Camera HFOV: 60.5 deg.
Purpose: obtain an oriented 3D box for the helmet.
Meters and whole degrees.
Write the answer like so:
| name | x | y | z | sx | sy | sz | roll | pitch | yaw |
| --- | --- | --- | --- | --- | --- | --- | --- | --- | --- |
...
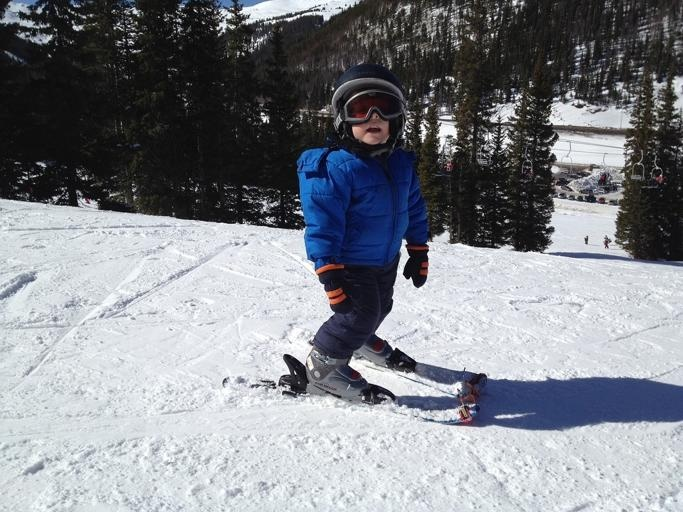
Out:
| name | x | y | z | sx | sy | sz | roll | pitch | yaw |
| --- | --- | --- | --- | --- | --- | --- | --- | --- | --- |
| helmet | 0.217 | -1.539 | 5.599 | 0.422 | 0.443 | 0.553 | 3 | -8 | 1 |

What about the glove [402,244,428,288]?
| name | x | y | z | sx | sy | sz | roll | pitch | yaw |
| --- | --- | --- | --- | --- | --- | --- | --- | --- | --- |
| glove | 0.741 | 0.093 | 6.138 | 0.329 | 0.491 | 0.293 | 10 | -2 | 8 |
